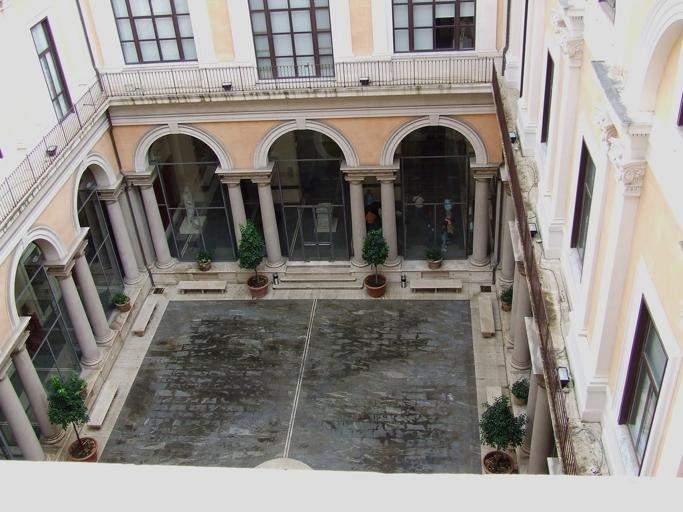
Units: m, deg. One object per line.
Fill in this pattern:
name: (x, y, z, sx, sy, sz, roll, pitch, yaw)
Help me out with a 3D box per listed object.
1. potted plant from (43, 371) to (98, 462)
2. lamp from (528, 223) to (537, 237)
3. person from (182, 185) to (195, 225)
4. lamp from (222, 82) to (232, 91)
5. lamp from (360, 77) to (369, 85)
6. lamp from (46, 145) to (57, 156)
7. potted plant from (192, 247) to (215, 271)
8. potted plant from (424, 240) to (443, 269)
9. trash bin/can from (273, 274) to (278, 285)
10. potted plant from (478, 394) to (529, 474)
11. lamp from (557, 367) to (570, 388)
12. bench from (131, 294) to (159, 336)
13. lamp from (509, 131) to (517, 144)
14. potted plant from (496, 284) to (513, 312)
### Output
potted plant: (-10.626, 6.303, 18.772, 1.762, 3.344, 2.556, 3, 3, -32)
lamp: (5.560, -0.732, 13.736, 0.238, 0.408, 0.558, 5, 2, 21)
person: (-8.150, -2.689, 25.228, 0.605, 1.941, 0.693, 5, 2, 4)
lamp: (-5.112, -7.564, 21.200, 0.404, 0.315, 0.385, -2, 38, -7)
lamp: (1.029, -7.681, 20.922, 0.433, 0.302, 0.315, -2, -2, 13)
lamp: (-11.327, -4.100, 18.581, 0.304, 0.349, 0.388, -11, 35, -25)
potted plant: (-7.353, 0.288, 25.388, 0.927, 0.990, 0.995, -6, 50, -6)
potted plant: (4.733, -0.019, 24.245, 1.026, 1.209, 1.033, 2, 49, 9)
trash bin/can: (-3.414, 1.234, 24.590, 0.260, 0.511, 0.153, 0, 1, 15)
potted plant: (5.592, 6.394, 16.472, 1.458, 2.628, 2.065, 5, 2, 21)
lamp: (4.752, 2.631, 10.172, 0.179, 0.326, 0.311, 0, -28, 12)
bench: (-9.849, 3.045, 23.901, 0.784, 1.664, 1.797, 4, 2, -5)
lamp: (6.189, -4.268, 17.088, 0.272, 0.453, 0.638, 5, 2, 18)
potted plant: (7.650, 2.052, 22.157, 0.527, 1.175, 1.110, 5, 2, 17)
